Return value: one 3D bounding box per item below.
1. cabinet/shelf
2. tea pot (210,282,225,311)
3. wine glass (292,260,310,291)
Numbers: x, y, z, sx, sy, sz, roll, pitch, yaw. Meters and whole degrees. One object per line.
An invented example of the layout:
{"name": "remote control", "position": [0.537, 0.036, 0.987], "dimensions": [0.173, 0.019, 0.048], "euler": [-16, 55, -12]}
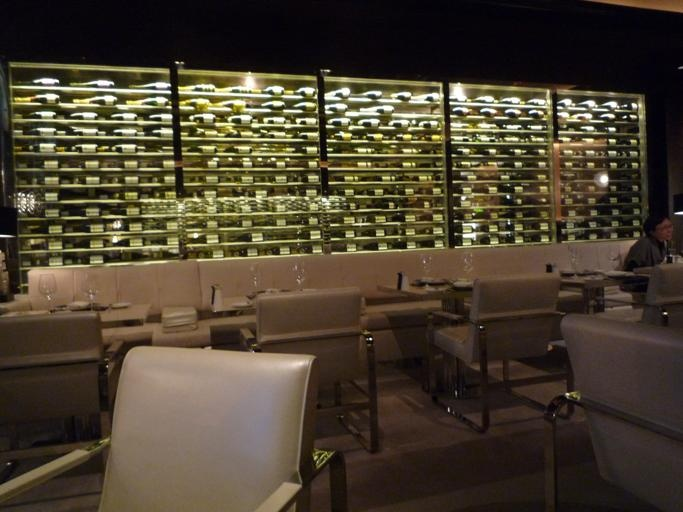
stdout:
{"name": "cabinet/shelf", "position": [0.049, -1.110, 6.728], "dimensions": [7.183, 2.376, 0.952], "euler": [-5, 12, -12]}
{"name": "tea pot", "position": [-1.107, 0.358, 4.883], "dimensions": [0.147, 0.248, 0.268], "euler": [-2, 4, -19]}
{"name": "wine glass", "position": [-0.430, 0.172, 5.521], "dimensions": [0.181, 0.353, 0.084], "euler": [5, -5, -26]}
